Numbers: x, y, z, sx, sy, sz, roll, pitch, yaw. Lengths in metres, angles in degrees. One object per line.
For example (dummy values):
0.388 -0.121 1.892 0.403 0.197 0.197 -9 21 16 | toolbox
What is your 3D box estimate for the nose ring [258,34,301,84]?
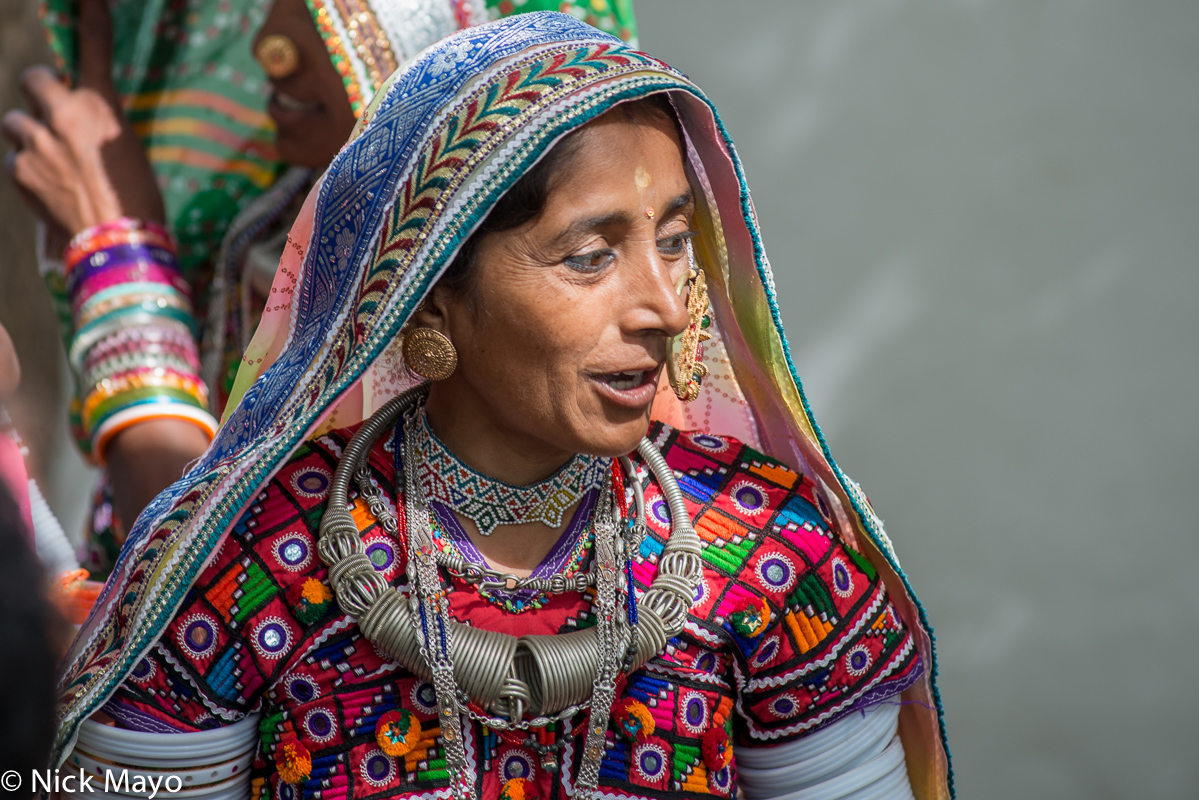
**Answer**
-0.887 -0.934 4.397 0.109 0.114 0.022 7 12 20 | nose ring
